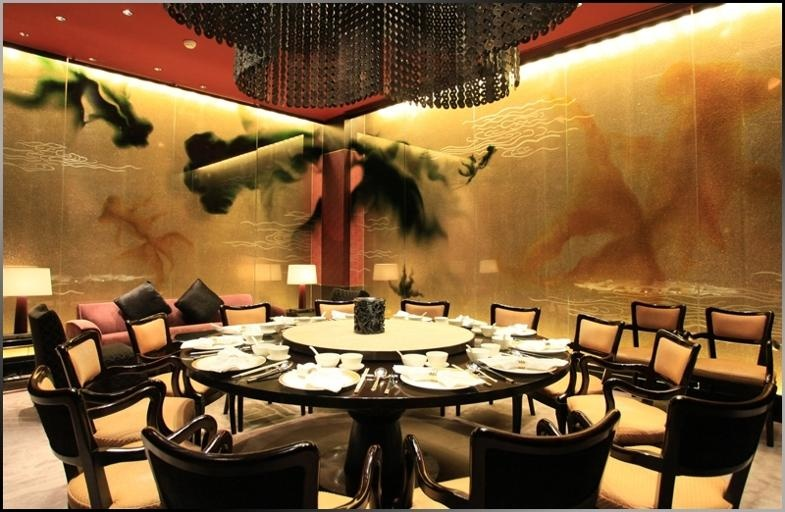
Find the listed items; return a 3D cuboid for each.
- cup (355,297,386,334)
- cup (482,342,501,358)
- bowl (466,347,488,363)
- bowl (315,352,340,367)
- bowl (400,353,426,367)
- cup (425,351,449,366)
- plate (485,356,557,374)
[{"bbox_3d":[-0.209,0.529,4.708,0.296,0.312,0.297,1,-5,0],"label":"cup"},{"bbox_3d":[0.782,0.756,4.341,0.114,0.073,0.112,0,2,0],"label":"cup"},{"bbox_3d":[0.647,0.769,4.194,0.134,0.081,0.107,1,-5,-18],"label":"bowl"},{"bbox_3d":[-0.501,0.793,4.126,0.177,0.104,0.180,0,3,0],"label":"bowl"},{"bbox_3d":[0.154,0.794,4.094,0.181,0.102,0.205,0,2,2],"label":"bowl"},{"bbox_3d":[0.332,0.779,4.112,0.154,0.115,0.100,0,3,-1],"label":"cup"},{"bbox_3d":[0.999,0.835,4.180,0.637,0.107,0.222,0,2,-4],"label":"plate"}]
